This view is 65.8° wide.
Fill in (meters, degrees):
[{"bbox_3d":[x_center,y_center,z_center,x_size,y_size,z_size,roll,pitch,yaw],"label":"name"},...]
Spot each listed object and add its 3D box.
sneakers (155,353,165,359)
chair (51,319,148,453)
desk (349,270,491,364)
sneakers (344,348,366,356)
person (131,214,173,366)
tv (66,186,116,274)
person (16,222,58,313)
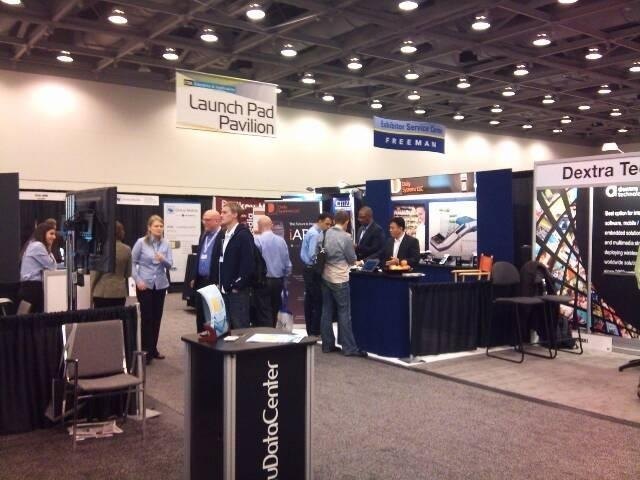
[{"bbox_3d":[-2.028,1.471,6.275,0.113,0.052,0.044,-1,3,-10],"label":"sneakers"},{"bbox_3d":[-1.894,1.231,4.477,0.845,1.439,0.873,0,-4,-28],"label":"chair"},{"bbox_3d":[1.081,0.817,6.570,1.168,0.801,1.188,0,0,-30],"label":"desk"},{"bbox_3d":[0.457,1.447,6.339,0.262,0.118,0.100,-1,-4,0],"label":"sneakers"},{"bbox_3d":[-2.066,0.614,6.064,0.369,1.804,0.610,2,5,29],"label":"person"},{"bbox_3d":[-2.110,-0.081,4.576,0.237,0.799,0.710,-3,5,-45],"label":"tv"},{"bbox_3d":[-3.711,0.366,6.499,0.453,1.215,0.440,-1,4,-17],"label":"person"}]
